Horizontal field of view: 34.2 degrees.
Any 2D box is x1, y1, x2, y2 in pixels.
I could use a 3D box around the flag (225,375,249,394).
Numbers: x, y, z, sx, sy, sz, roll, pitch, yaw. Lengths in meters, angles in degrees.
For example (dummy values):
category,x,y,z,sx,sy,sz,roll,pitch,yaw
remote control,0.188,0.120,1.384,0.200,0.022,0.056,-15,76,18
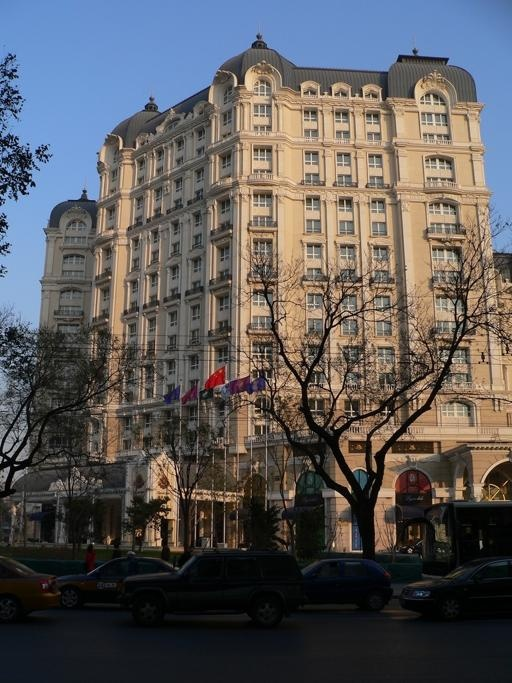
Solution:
category,x,y,z,sx,sy,sz,roll,pitch,yaw
flag,-1.109,2.753,51.160,0.992,1.203,2.555,6,-19,-19
